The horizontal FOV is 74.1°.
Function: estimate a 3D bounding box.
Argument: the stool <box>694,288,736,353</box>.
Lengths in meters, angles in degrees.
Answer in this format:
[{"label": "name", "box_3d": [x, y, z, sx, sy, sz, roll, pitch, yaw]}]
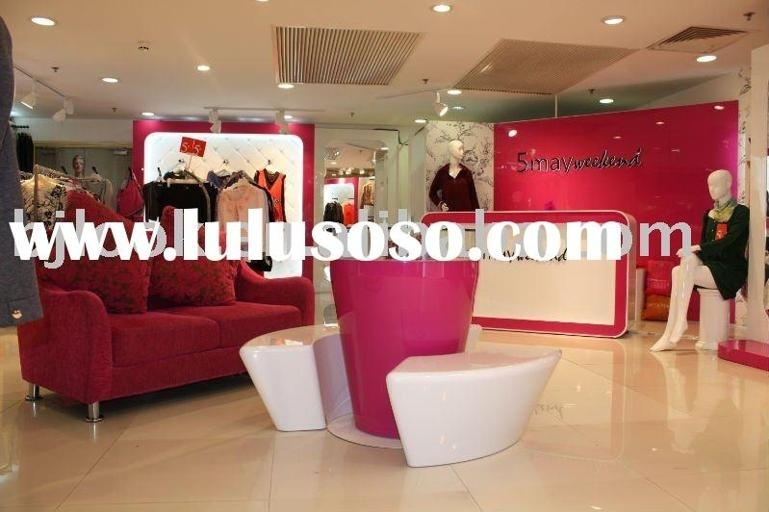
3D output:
[{"label": "stool", "box_3d": [3.296, 0.626, 5.134, 0.283, 0.580, 0.389, 5, 8, 33]}]

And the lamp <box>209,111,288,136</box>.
[{"label": "lamp", "box_3d": [-2.197, -2.169, 8.343, 1.171, 0.356, 1.089, -1, 7, -8]}]

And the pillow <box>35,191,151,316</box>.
[{"label": "pillow", "box_3d": [-1.965, -0.037, 3.643, 0.358, 0.818, 0.793, -7, -24, 28]}]

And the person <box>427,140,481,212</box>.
[{"label": "person", "box_3d": [1.165, -1.037, 8.412, 0.916, 1.758, 0.438, -11, 33, -6]}]

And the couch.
[{"label": "couch", "box_3d": [-1.646, 0.334, 4.049, 1.046, 1.293, 2.034, 3, 1, 30]}]

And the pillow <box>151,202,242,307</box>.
[{"label": "pillow", "box_3d": [-1.489, 0.011, 4.028, 0.226, 0.741, 0.760, -5, -5, 37]}]

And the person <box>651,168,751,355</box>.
[{"label": "person", "box_3d": [3.291, 0.020, 5.182, 1.302, 1.793, 0.644, -7, 10, -44]}]
